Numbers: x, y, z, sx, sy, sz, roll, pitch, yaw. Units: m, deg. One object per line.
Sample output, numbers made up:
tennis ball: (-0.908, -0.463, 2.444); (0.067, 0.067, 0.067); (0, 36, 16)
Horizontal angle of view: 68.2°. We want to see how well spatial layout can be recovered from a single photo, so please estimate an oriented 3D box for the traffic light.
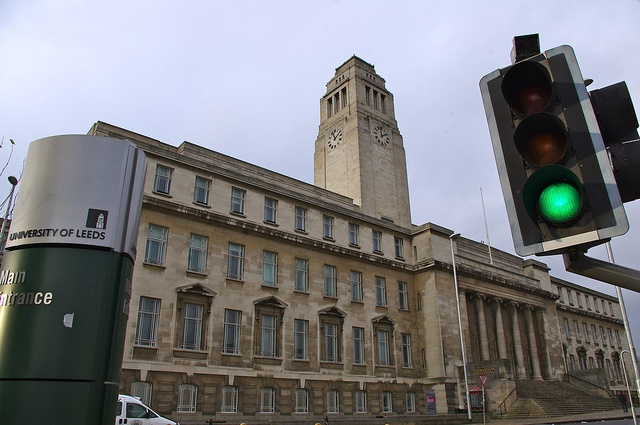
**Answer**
traffic light: (2.732, -0.796, 5.757); (1.203, 2.507, 0.707); (-17, -29, 31)
